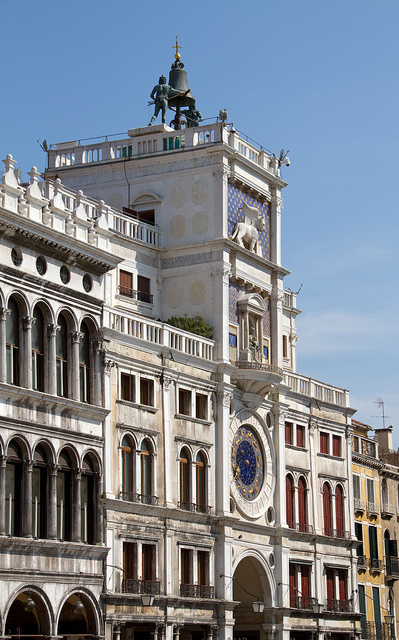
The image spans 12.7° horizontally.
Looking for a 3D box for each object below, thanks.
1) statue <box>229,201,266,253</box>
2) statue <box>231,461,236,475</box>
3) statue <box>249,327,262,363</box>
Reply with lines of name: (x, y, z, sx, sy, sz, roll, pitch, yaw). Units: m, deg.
statue: (2.193, -4.512, 81.318, 1.249, 2.467, 2.137, -5, -12, 37)
statue: (1.440, 6.291, 76.809, 0.093, 0.435, 0.128, -8, 1, -29)
statue: (2.456, 1.027, 79.925, 0.511, 1.812, 1.057, -1, -12, 2)
